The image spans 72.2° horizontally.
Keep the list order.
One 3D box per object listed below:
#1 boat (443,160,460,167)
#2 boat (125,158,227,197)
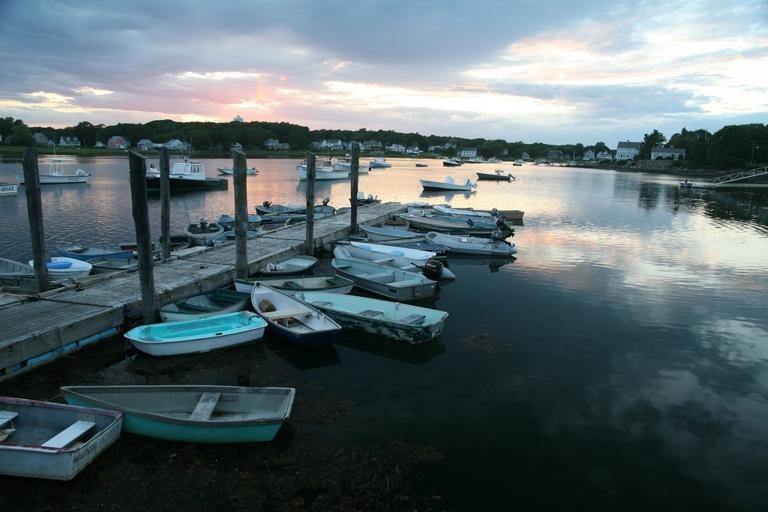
[{"bbox_3d":[19.972,-26.110,149.088,2.518,1.343,7.302,20,25,37],"label":"boat"},{"bbox_3d":[-21.185,-8.712,56.861,7.209,3.478,9.144,-1,12,-9],"label":"boat"}]
